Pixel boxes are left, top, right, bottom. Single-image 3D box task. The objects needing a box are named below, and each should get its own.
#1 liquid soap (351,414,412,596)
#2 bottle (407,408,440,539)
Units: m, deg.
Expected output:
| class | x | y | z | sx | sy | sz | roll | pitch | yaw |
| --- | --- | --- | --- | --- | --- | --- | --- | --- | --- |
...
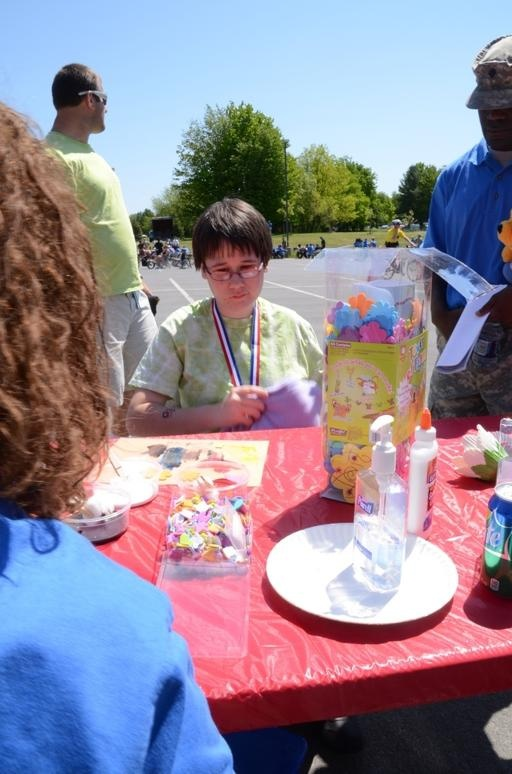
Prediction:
| class | x | y | z | sx | sy | sz | roll | pitch | yaw |
| --- | --- | --- | --- | --- | --- | --- | --- | --- | --- |
| liquid soap | 0.209 | 0.191 | 0.995 | 0.109 | 0.250 | 0.102 | 2 | 11 | 13 |
| bottle | 0.298 | 0.151 | 1.101 | 0.082 | 0.223 | 0.098 | 0 | 6 | 10 |
